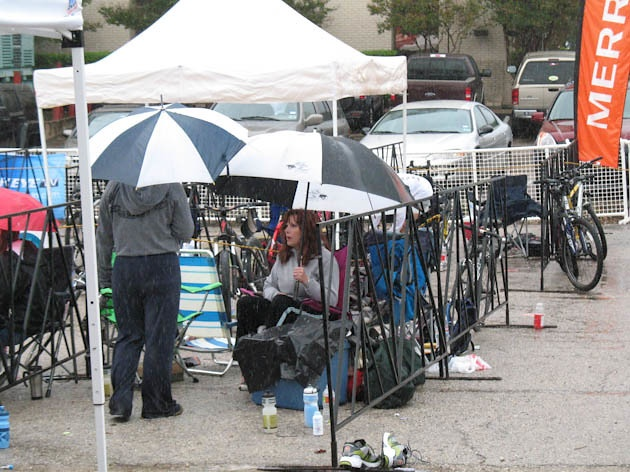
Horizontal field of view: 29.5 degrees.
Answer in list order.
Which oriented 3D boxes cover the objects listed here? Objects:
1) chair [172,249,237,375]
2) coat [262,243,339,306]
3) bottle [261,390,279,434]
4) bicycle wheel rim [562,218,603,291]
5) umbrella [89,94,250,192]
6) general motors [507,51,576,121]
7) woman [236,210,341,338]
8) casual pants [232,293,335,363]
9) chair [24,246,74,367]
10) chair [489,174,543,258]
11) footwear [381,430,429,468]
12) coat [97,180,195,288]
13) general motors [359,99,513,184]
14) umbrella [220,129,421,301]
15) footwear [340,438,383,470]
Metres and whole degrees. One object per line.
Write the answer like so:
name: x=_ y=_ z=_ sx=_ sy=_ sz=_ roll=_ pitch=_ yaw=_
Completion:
chair: x=-1.083 y=0.767 z=12.729 sx=0.692 sy=1.328 sz=0.893 roll=2 pitch=4 yaw=18
coat: x=-0.152 y=0.433 z=12.232 sx=0.813 sy=0.758 sz=0.527 roll=-5 pitch=-19 yaw=30
bottle: x=-0.433 y=1.642 z=11.220 sx=0.139 sy=0.328 sz=0.187 roll=-3 pitch=8 yaw=-11
bicycle wheel rim: x=3.313 y=0.229 z=15.025 sx=0.133 sy=0.784 sz=0.737 roll=-8 pitch=12 yaw=-22
umbrella: x=-1.394 y=-0.872 z=11.341 sx=1.446 sy=0.691 sz=0.830 roll=-3 pitch=8 yaw=-13
general motors: x=5.601 y=-3.670 z=29.254 sx=1.676 sy=1.814 sz=3.499 roll=4 pitch=16 yaw=9
woman: x=-0.330 y=0.562 z=12.076 sx=1.003 sy=1.793 sz=0.796 roll=10 pitch=-14 yaw=-27
casual pants: x=-0.447 y=0.966 z=12.142 sx=0.638 sy=0.732 sz=0.740 roll=-1 pitch=-4 yaw=16
chair: x=-2.608 y=0.537 z=11.959 sx=0.307 sy=0.917 sz=0.659 roll=2 pitch=8 yaw=25
chair: x=2.569 y=-0.225 z=16.363 sx=0.721 sy=1.197 sz=1.076 roll=-8 pitch=-3 yaw=-8
footwear: x=0.746 y=1.904 z=10.686 sx=0.412 sy=0.271 sz=0.287 roll=-5 pitch=9 yaw=-24
coat: x=-1.658 y=-0.095 z=11.623 sx=0.916 sy=1.253 sz=0.896 roll=1 pitch=9 yaw=-12
general motors: x=1.996 y=-1.596 z=19.760 sx=1.216 sy=1.005 sz=2.796 roll=0 pitch=6 yaw=17
umbrella: x=-0.112 y=-0.329 z=12.748 sx=1.187 sy=0.883 sz=1.330 roll=18 pitch=1 yaw=9
footwear: x=0.394 y=1.933 z=10.583 sx=0.172 sy=0.211 sz=0.407 roll=-2 pitch=-6 yaw=40
